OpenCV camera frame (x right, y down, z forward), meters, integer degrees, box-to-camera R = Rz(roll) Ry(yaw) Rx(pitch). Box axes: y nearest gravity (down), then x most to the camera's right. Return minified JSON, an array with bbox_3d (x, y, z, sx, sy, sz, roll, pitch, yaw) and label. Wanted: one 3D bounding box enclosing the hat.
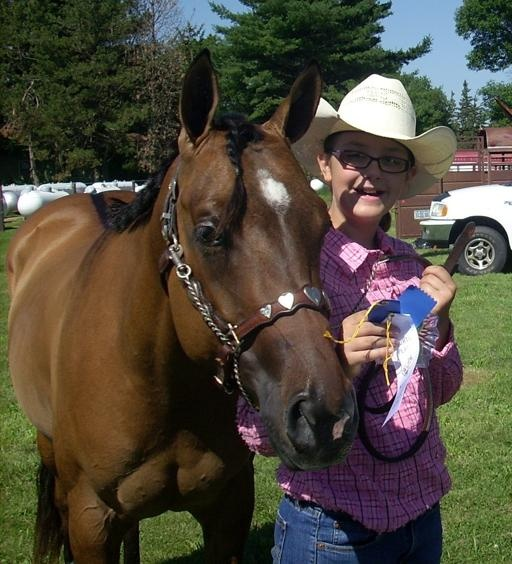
[{"bbox_3d":[0.499,-0.454,2.563,0.587,0.252,0.609,13,-14,12],"label":"hat"}]
